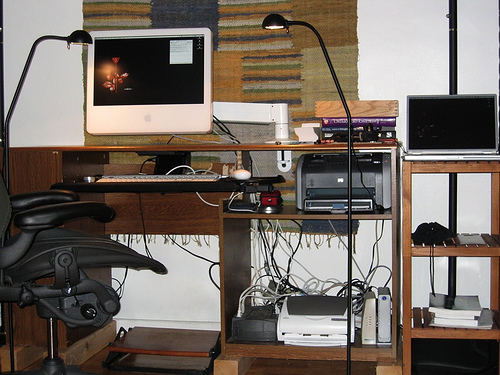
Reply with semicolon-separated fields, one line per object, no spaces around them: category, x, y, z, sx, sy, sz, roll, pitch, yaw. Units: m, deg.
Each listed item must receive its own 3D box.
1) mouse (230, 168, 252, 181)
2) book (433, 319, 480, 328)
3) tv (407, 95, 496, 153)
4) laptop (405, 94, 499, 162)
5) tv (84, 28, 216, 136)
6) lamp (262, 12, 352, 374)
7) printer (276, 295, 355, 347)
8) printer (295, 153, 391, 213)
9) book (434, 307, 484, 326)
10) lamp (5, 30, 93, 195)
mouse;-0.056;-0.070;3.144;0.062;0.045;0.077;-1;5;-18
book;1.038;0.680;2.981;0.214;0.037;0.025;1;3;12
tv;1.033;-0.334;3.087;0.473;0.338;0.281;1;6;7
laptop;1.051;-0.317;3.082;0.547;0.409;0.328;1;4;10
tv;-0.578;-0.606;3.377;0.717;0.581;0.076;-5;15;-24
lamp;0.306;-0.013;2.940;0.525;1.755;0.468;2;4;31
printer;0.370;0.700;3.220;0.405;0.170;0.460;0;10;11
printer;0.502;-0.022;3.150;0.499;0.348;0.371;0;-2;15
book;1.083;0.665;2.994;0.295;0.050;0.105;-1;4;-16
lamp;-1.105;-0.431;3.291;0.470;0.897;0.370;-1;4;-20
